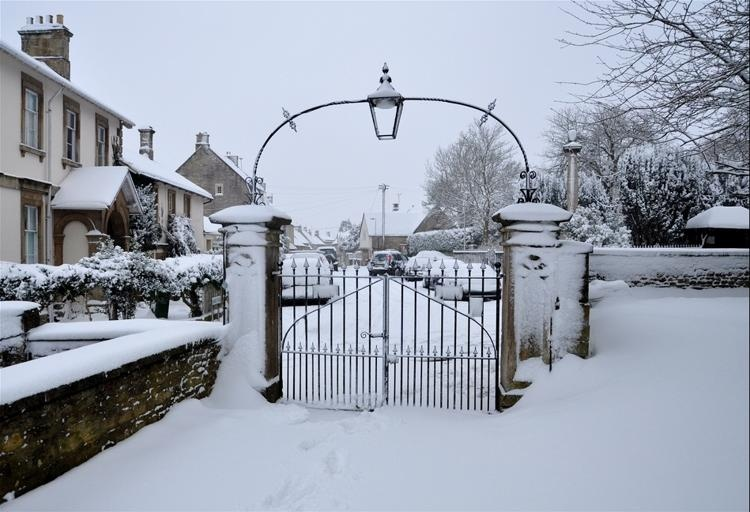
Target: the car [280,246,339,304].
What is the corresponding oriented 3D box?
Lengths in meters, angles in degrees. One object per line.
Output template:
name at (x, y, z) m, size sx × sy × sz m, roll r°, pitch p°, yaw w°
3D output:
car at (-1.653, 0.651, 18.566) m, size 0.976 × 0.933 × 2.620 m, roll -1°, pitch 2°, yaw 1°
